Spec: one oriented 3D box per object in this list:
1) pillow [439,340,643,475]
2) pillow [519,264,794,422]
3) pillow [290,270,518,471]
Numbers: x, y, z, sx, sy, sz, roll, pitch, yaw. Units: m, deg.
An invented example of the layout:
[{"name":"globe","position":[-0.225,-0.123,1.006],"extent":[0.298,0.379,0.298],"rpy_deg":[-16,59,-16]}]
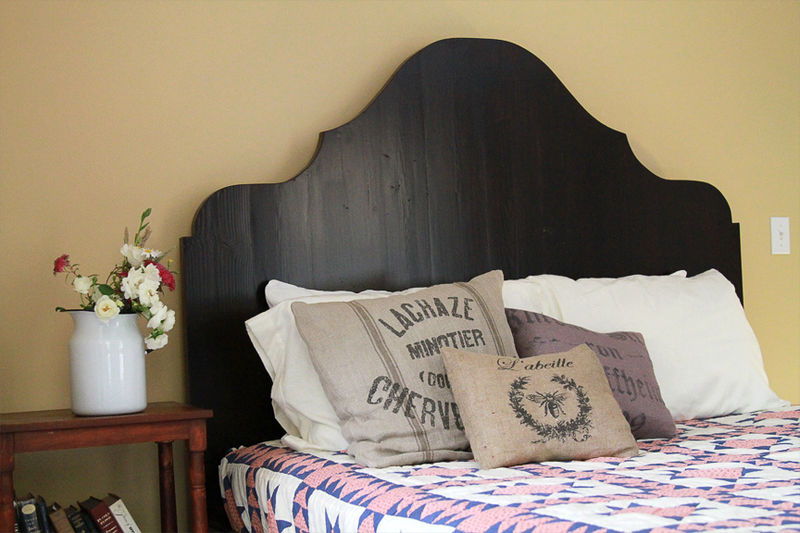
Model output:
[{"name":"pillow","position":[0.374,0.398,1.986],"extent":[0.474,0.336,0.138],"rpy_deg":[-1,-25,-22]},{"name":"pillow","position":[0.994,0.289,2.717],"extent":[0.677,0.625,0.217],"rpy_deg":[-4,-25,-28]},{"name":"pillow","position":[-0.015,0.314,2.107],"extent":[0.551,0.525,0.164],"rpy_deg":[-9,-16,-30]}]
